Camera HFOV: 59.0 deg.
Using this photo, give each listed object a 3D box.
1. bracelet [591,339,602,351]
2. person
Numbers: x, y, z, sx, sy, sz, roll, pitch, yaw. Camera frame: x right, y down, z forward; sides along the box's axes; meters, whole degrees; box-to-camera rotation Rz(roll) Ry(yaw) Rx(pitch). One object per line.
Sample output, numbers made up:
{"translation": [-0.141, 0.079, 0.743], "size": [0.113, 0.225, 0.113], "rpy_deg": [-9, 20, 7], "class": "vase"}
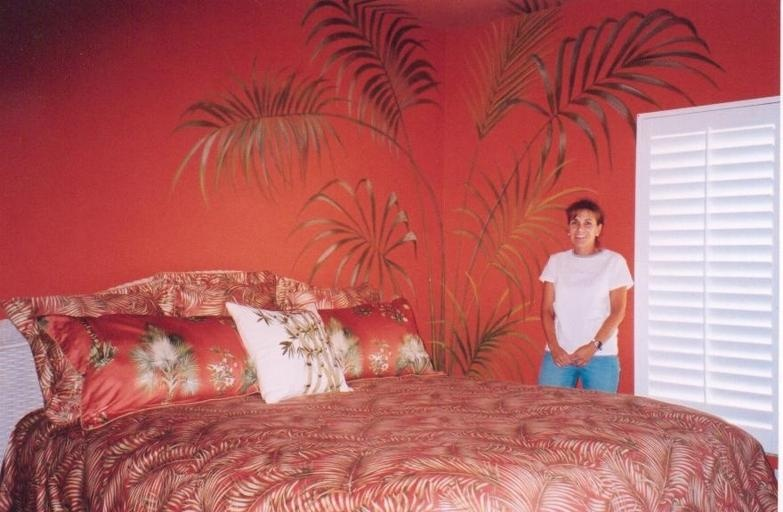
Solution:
{"translation": [1.296, 0.561, 4.357], "size": [0.048, 0.072, 0.077], "rpy_deg": [-33, -41, 21], "class": "bracelet"}
{"translation": [1.255, 0.519, 4.583], "size": [0.604, 1.782, 0.473], "rpy_deg": [4, 16, 28], "class": "person"}
